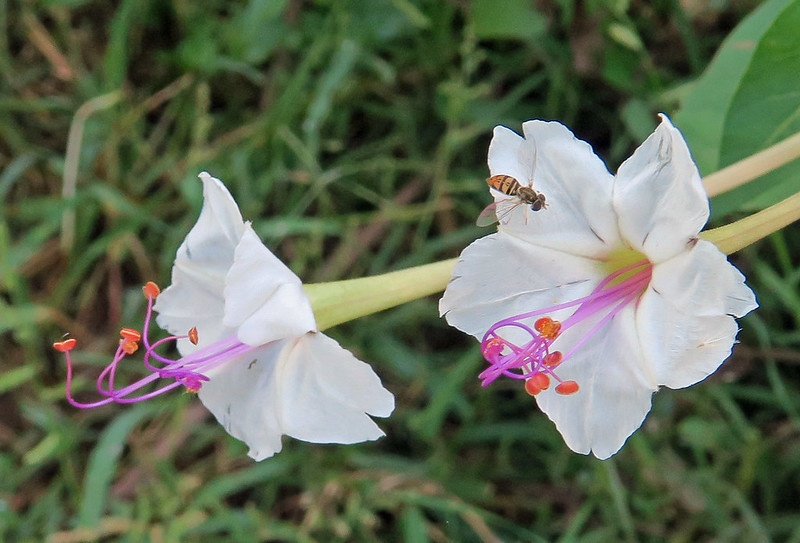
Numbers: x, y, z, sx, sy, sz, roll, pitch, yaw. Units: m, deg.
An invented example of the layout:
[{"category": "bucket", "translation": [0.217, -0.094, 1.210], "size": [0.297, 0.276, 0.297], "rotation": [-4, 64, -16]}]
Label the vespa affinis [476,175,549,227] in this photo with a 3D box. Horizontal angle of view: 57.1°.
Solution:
[{"category": "vespa affinis", "translation": [0.268, -0.181, 1.692], "size": [0.124, 0.045, 0.107], "rotation": [-19, 77, 0]}]
